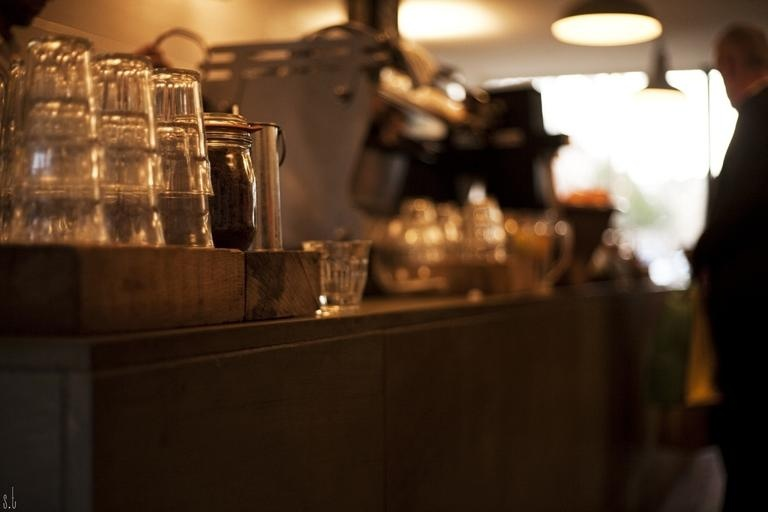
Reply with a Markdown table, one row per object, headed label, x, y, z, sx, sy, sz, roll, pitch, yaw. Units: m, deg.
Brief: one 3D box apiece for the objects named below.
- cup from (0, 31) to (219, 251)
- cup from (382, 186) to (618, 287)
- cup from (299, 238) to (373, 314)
| label | x | y | z | sx | sy | sz | roll | pitch | yaw |
| --- | --- | --- | --- | --- | --- | --- | --- | --- | --- |
| cup | -0.364 | -0.127 | 0.914 | 0.240 | 0.242 | 0.252 | 1 | 4 | 0 |
| cup | 0.259 | -0.019 | 1.543 | 0.463 | 0.180 | 0.258 | -1 | -3 | 8 |
| cup | -0.068 | 0.031 | 1.153 | 0.107 | 0.101 | 0.104 | -1 | -5 | 0 |
